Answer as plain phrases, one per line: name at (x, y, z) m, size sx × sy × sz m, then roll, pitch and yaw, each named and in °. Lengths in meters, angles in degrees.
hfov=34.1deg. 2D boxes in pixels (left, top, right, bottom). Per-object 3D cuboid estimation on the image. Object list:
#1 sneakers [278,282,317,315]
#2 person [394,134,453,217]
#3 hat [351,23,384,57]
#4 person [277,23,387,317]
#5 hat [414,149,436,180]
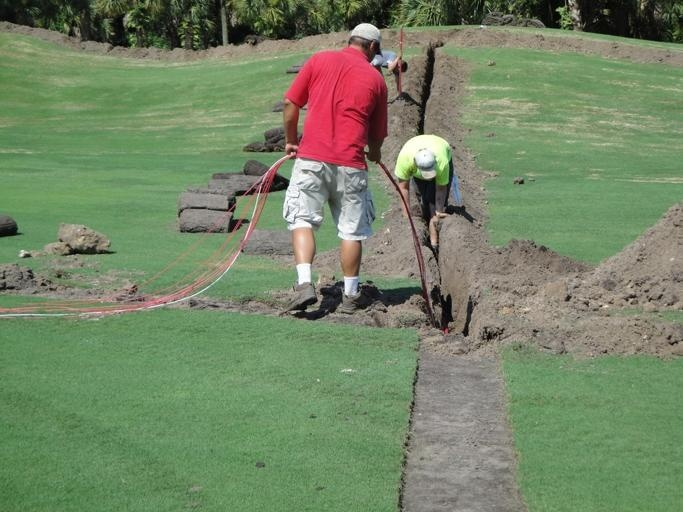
sneakers at (-0.486, 0.488, 12.936) m, size 0.254 × 0.249 × 0.579 m, roll 8°, pitch -26°, yaw -28°
person at (1.198, -1.333, 15.855) m, size 0.815 × 0.523 × 1.208 m, roll 7°, pitch 14°, yaw 4°
hat at (0.280, -2.628, 13.237) m, size 0.435 × 0.345 × 0.312 m, roll 0°, pitch 18°, yaw -40°
person at (-0.100, -1.107, 13.165) m, size 1.203 × 3.325 × 0.909 m, roll 5°, pitch 13°, yaw 1°
hat at (1.180, -1.295, 15.444) m, size 0.296 × 0.412 × 0.266 m, roll 8°, pitch 13°, yaw 18°
